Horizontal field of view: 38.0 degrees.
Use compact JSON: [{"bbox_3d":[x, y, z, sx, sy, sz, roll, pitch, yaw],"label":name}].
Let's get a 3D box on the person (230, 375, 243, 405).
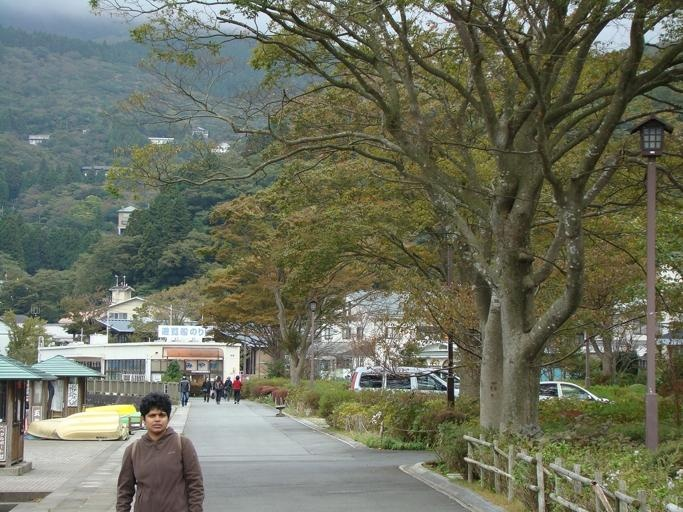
[{"bbox_3d":[-6.083,7.800,57.968,0.369,1.691,1.536,3,-13,-8],"label":"person"}]
